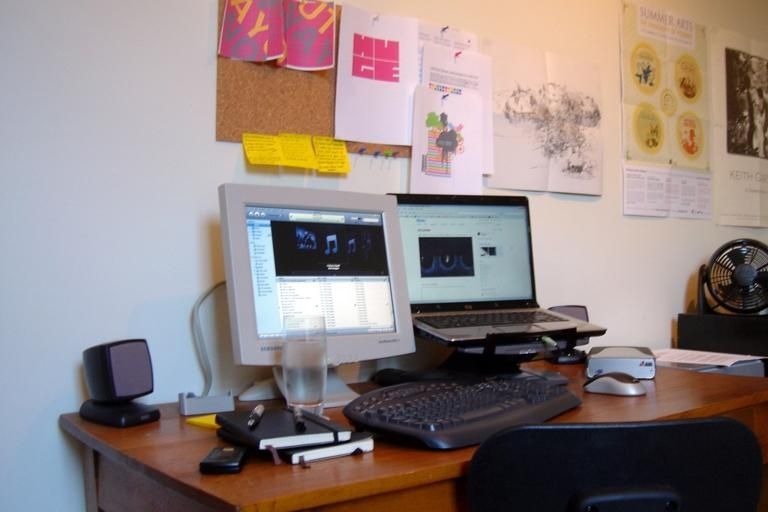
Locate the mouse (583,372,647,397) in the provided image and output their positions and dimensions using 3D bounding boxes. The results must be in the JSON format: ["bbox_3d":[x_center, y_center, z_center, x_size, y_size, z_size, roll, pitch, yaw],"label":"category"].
[{"bbox_3d":[0.596,0.320,1.433,0.110,0.034,0.065,-1,-2,35],"label":"mouse"}]

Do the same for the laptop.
[{"bbox_3d":[0.317,0.032,1.594,0.538,0.367,0.380,-2,9,-29],"label":"laptop"}]

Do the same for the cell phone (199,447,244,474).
[{"bbox_3d":[-0.293,0.372,1.016,0.080,0.025,0.062,-3,2,7],"label":"cell phone"}]

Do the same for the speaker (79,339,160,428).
[{"bbox_3d":[-0.630,0.289,1.309,0.177,0.177,0.131,-2,-1,19],"label":"speaker"}]

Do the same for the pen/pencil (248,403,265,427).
[{"bbox_3d":[-0.255,0.321,1.110,0.015,0.014,0.047,8,17,13],"label":"pen/pencil"}]

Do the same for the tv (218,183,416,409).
[{"bbox_3d":[-0.183,0.100,1.387,0.595,0.592,0.227,1,-9,-30],"label":"tv"}]
